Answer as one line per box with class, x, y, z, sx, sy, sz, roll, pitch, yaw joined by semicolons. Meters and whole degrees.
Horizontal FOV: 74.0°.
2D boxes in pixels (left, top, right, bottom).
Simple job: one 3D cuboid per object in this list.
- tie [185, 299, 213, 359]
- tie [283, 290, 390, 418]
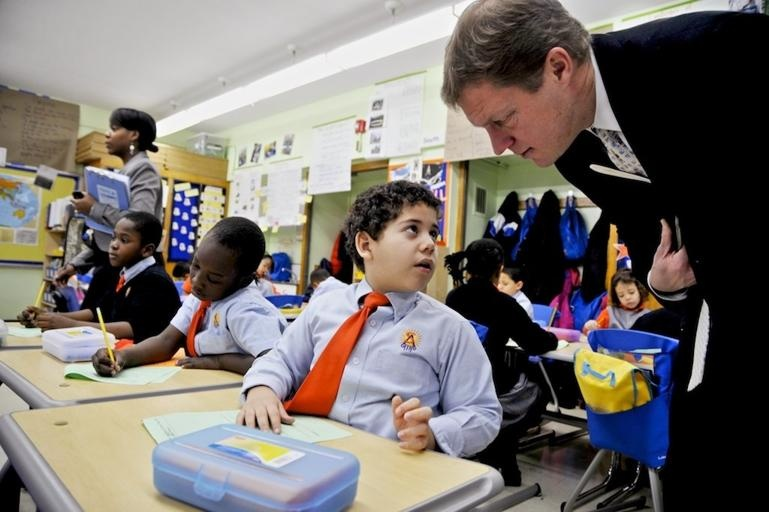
tie;-0.691;0.272;1.880;0.128;0.178;0.047;-7;-27;40
tie;-0.132;0.257;1.403;0.238;0.291;0.201;3;7;-7
